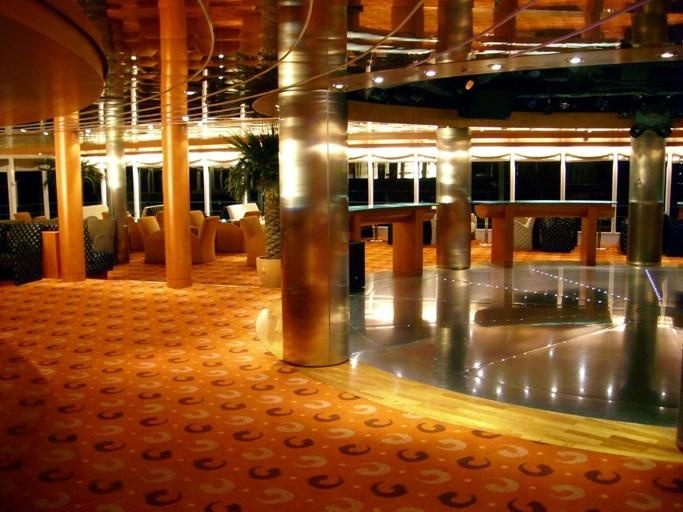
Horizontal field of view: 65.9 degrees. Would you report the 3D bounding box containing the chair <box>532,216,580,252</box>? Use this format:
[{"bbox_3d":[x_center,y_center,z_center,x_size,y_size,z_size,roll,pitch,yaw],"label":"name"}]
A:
[{"bbox_3d":[5.948,-0.594,14.782,1.138,0.948,0.903,2,6,15],"label":"chair"}]

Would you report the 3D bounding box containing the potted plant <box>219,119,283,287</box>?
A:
[{"bbox_3d":[-1.520,-0.915,9.842,1.146,2.931,0.551,3,8,22],"label":"potted plant"}]
